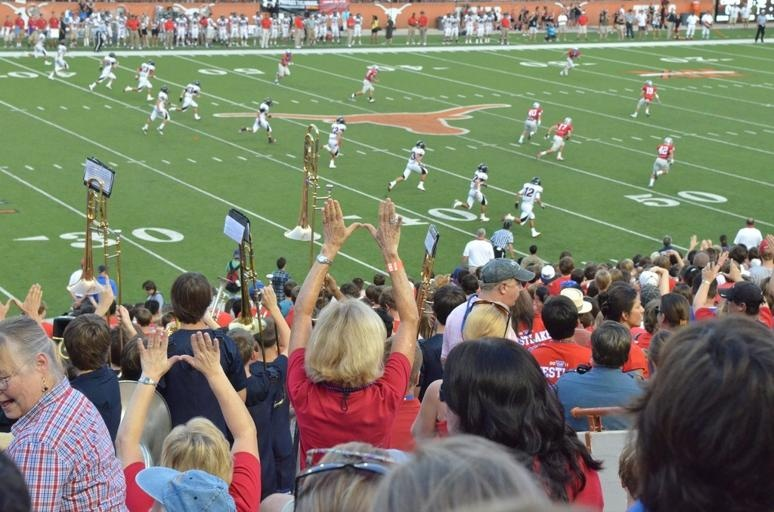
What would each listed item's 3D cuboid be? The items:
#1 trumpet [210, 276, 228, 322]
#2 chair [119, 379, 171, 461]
[{"bbox_3d":[-2.188,0.590,13.403,0.095,0.510,0.199,2,-2,12],"label":"trumpet"},{"bbox_3d":[-1.820,1.259,7.746,0.358,0.597,0.301,2,-1,-15],"label":"chair"}]
